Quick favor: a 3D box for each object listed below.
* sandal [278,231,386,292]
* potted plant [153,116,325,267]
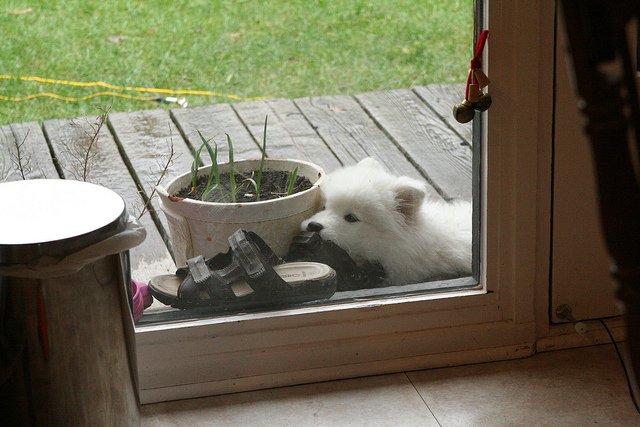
[{"bbox_3d":[0.035,0.130,1.731,0.373,0.142,0.128,7,66,-6],"label":"sandal"},{"bbox_3d":[-0.209,-0.062,1.862,0.474,0.429,0.371,11,34,16],"label":"potted plant"}]
